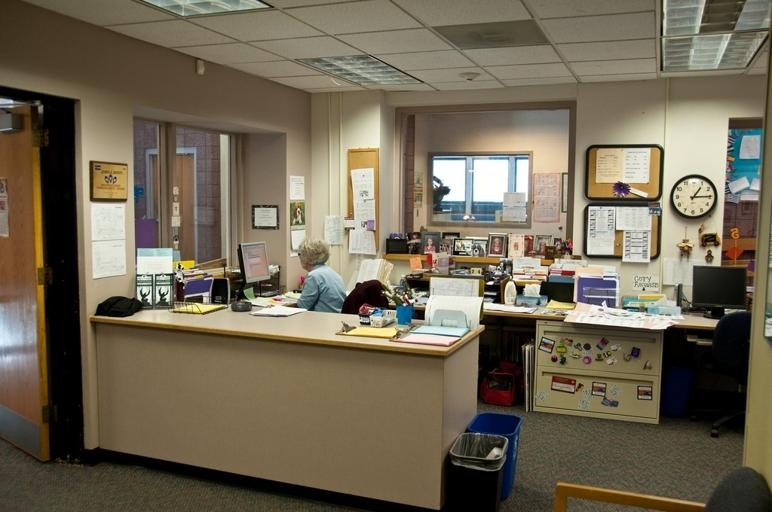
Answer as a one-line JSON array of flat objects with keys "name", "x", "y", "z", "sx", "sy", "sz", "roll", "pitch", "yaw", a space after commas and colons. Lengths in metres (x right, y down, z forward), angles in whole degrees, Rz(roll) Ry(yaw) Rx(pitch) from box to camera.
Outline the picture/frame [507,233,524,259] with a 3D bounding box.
[{"name": "picture/frame", "x": 1.582, "y": -0.114, "z": 6.926, "sx": 0.193, "sy": 0.274, "sz": 0.084, "roll": 1, "pitch": -3, "yaw": 15}]

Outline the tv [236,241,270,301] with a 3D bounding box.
[{"name": "tv", "x": -1.402, "y": 0.170, "z": 5.974, "sx": 0.254, "sy": 0.659, "sz": 0.575, "roll": -2, "pitch": 3, "yaw": 17}]

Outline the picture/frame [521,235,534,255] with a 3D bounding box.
[{"name": "picture/frame", "x": 1.720, "y": -0.136, "z": 6.941, "sx": 0.195, "sy": 0.262, "sz": 0.152, "roll": 4, "pitch": 12, "yaw": 11}]

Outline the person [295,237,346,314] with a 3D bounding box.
[{"name": "person", "x": -0.649, "y": 0.202, "z": 5.540, "sx": 0.477, "sy": 0.739, "sz": 0.513, "roll": -2, "pitch": 2, "yaw": 5}]

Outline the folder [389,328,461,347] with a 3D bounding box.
[{"name": "folder", "x": 0.298, "y": 0.601, "z": 4.161, "sx": 0.444, "sy": 0.038, "sz": 0.284, "roll": 6, "pitch": 14, "yaw": 22}]

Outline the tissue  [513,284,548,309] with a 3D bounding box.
[{"name": "tissue ", "x": 1.595, "y": 0.438, "z": 6.143, "sx": 0.265, "sy": 0.165, "sz": 0.271, "roll": 2, "pitch": 5, "yaw": 25}]

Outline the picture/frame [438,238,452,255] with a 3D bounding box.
[{"name": "picture/frame", "x": 0.757, "y": -0.135, "z": 7.298, "sx": 0.124, "sy": 0.050, "sz": 0.218, "roll": 1, "pitch": 38, "yaw": 2}]

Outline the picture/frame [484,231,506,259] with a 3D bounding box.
[{"name": "picture/frame", "x": 1.354, "y": -0.127, "z": 7.064, "sx": 0.338, "sy": 0.401, "sz": 0.053, "roll": 2, "pitch": -8, "yaw": 17}]

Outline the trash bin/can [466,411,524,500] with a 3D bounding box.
[{"name": "trash bin/can", "x": 0.853, "y": 1.584, "z": 4.583, "sx": 0.422, "sy": 0.626, "sz": 0.533, "roll": 16, "pitch": 4, "yaw": 17}]

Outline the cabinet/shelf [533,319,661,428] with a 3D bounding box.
[{"name": "cabinet/shelf", "x": 2.103, "y": 1.100, "z": 5.905, "sx": 1.145, "sy": 0.906, "sz": 0.803, "roll": 4, "pitch": 4, "yaw": 10}]

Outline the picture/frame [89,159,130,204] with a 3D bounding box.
[{"name": "picture/frame", "x": -2.327, "y": -0.631, "z": 4.746, "sx": 0.053, "sy": 0.369, "sz": 0.377, "roll": 0, "pitch": 4, "yaw": 33}]

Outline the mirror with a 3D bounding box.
[{"name": "mirror", "x": 1.595, "y": -1.143, "z": 8.198, "sx": 2.164, "sy": 2.032, "sz": 0.725, "roll": 1, "pitch": -2, "yaw": 16}]

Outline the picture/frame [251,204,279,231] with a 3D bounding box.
[{"name": "picture/frame", "x": -1.448, "y": -0.477, "z": 6.843, "sx": 0.326, "sy": 0.269, "sz": 0.025, "roll": 1, "pitch": 4, "yaw": 18}]

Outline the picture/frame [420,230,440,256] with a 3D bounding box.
[{"name": "picture/frame", "x": 0.550, "y": -0.158, "z": 7.231, "sx": 0.292, "sy": 0.331, "sz": 0.045, "roll": 3, "pitch": 5, "yaw": 19}]

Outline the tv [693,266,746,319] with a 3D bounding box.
[{"name": "tv", "x": 3.377, "y": 0.361, "z": 5.742, "sx": 0.502, "sy": 0.517, "sz": 0.175, "roll": 1, "pitch": -1, "yaw": 16}]

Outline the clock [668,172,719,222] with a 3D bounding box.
[{"name": "clock", "x": 3.441, "y": -0.679, "z": 6.331, "sx": 0.557, "sy": 0.594, "sz": 0.103, "roll": 0, "pitch": 1, "yaw": 15}]

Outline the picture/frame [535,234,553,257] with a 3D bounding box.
[{"name": "picture/frame", "x": 1.902, "y": -0.125, "z": 6.871, "sx": 0.230, "sy": 0.314, "sz": 0.023, "roll": 7, "pitch": -19, "yaw": 10}]
